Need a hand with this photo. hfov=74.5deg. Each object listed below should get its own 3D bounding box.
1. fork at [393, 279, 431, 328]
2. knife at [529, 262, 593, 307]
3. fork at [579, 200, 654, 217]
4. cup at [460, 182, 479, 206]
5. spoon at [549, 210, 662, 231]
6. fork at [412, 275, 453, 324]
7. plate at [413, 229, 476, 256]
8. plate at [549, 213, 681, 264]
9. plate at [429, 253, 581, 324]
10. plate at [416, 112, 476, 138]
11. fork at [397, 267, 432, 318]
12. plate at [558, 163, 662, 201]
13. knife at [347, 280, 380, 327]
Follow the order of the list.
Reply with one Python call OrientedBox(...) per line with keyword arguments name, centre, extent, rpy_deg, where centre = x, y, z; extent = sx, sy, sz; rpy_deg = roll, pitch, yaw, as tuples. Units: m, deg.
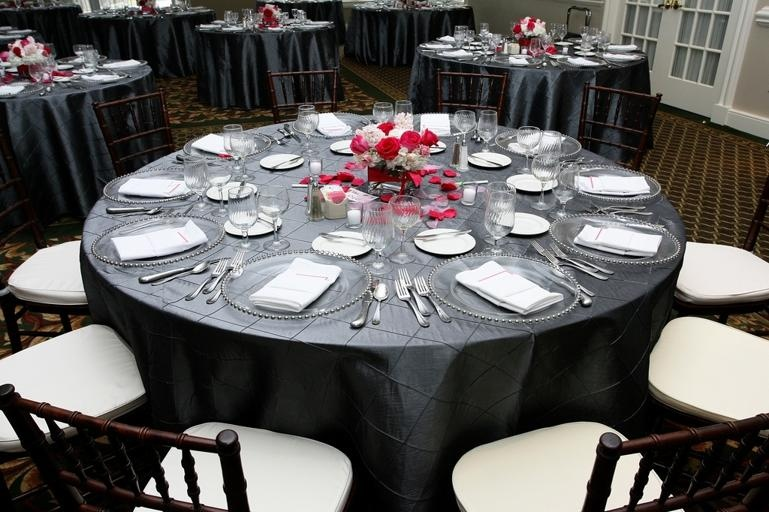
OrientedBox(name="fork", centre=(0.087, 0.152, 1.817), extent=(0.051, 0.041, 0.294), rpy_deg=(-16, 49, -11))
OrientedBox(name="knife", centre=(0.630, 0.077, 1.893), extent=(0.060, 0.050, 0.347), rpy_deg=(-28, 35, -15))
OrientedBox(name="fork", centre=(1.029, -0.200, 2.274), extent=(0.289, 0.047, 0.092), rpy_deg=(6, 43, 1))
OrientedBox(name="cup", centre=(0.365, -0.282, 2.319), extent=(0.091, 0.105, 0.093), rpy_deg=(0, 25, 0))
OrientedBox(name="spoon", centre=(0.926, -0.143, 2.169), extent=(0.307, 0.035, 0.164), rpy_deg=(4, 25, 4))
OrientedBox(name="fork", centre=(0.152, 0.141, 1.831), extent=(0.053, 0.041, 0.293), rpy_deg=(-7, 43, -23))
OrientedBox(name="plate", centre=(0.246, -0.051, 2.030), extent=(0.146, 0.015, 0.142), rpy_deg=(10, 33, 17))
OrientedBox(name="plate", centre=(0.917, -0.054, 2.031), extent=(0.345, 0.059, 0.240), rpy_deg=(14, 37, 19))
OrientedBox(name="plate", centre=(0.379, 0.128, 1.798), extent=(0.313, 0.040, 0.305), rpy_deg=(-22, 35, -34))
OrientedBox(name="plate", centre=(0.352, -0.745, 2.916), extent=(0.320, 0.032, 0.318), rpy_deg=(-28, 42, -35))
OrientedBox(name="fork", centre=(0.099, 0.122, 1.810), extent=(0.049, 0.039, 0.278), rpy_deg=(-9, 46, -15))
OrientedBox(name="plate", centre=(1.083, -0.336, 2.417), extent=(0.333, 0.068, 0.290), rpy_deg=(8, 34, 12))
OrientedBox(name="knife", centre=(-0.076, 0.156, 1.748), extent=(0.040, 0.021, 0.237), rpy_deg=(0, 39, 18))
